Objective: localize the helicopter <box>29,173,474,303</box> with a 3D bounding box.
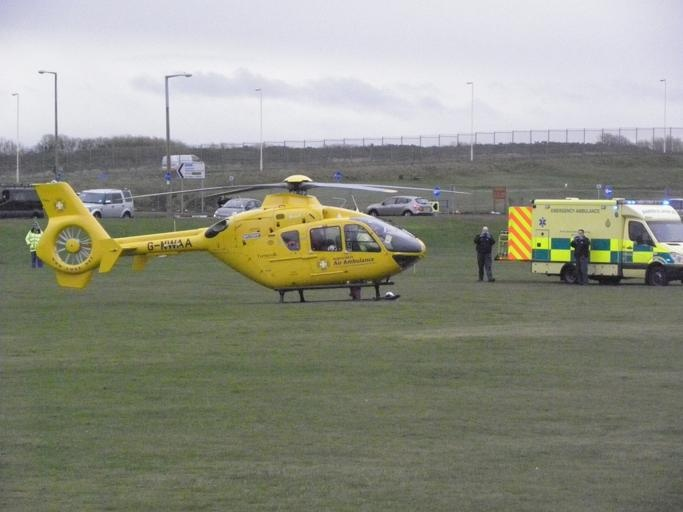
[{"bbox_3d":[-2.260,-0.507,38.448,10.616,3.055,8.002,-3,5,0],"label":"helicopter"}]
